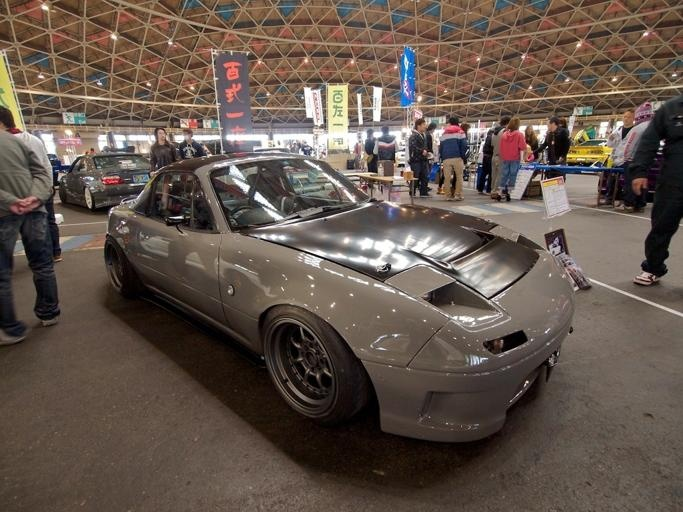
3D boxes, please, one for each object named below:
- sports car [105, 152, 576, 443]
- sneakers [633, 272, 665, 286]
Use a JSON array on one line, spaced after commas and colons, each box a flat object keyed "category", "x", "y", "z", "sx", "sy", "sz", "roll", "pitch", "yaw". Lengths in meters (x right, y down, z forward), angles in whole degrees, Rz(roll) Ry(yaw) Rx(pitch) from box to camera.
[{"category": "sports car", "x": -0.356, "y": 0.326, "z": 3.095, "sx": 3.522, "sy": 1.042, "sz": 1.992, "roll": 16, "pitch": 28, "yaw": 31}, {"category": "sneakers", "x": 3.454, "y": 0.238, "z": 4.131, "sx": 0.350, "sy": 0.141, "sz": 0.134, "roll": 0, "pitch": 14, "yaw": -27}]
